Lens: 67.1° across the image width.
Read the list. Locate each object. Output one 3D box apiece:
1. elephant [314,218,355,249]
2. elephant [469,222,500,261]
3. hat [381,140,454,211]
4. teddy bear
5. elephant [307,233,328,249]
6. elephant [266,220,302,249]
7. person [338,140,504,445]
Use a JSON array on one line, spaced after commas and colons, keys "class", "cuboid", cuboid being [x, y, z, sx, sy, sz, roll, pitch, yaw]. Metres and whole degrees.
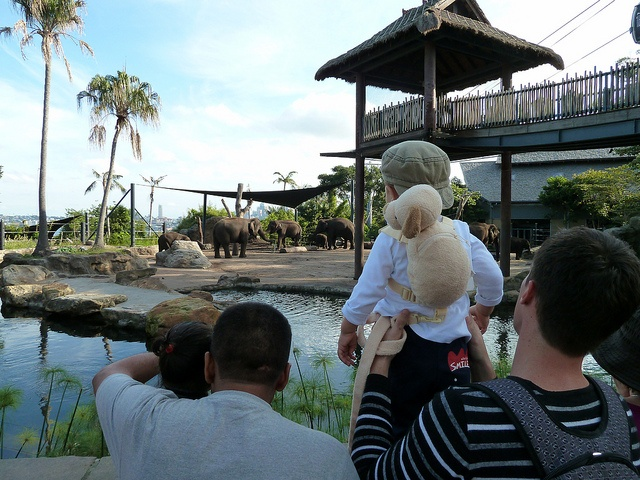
[{"class": "elephant", "cuboid": [0.694, -0.255, 24.462, 2.495, 1.579, 0.953, 1, -5, -1]}, {"class": "elephant", "cuboid": [5.963, -0.073, 17.673, 1.398, 0.929, 0.629, 9, 2, -15]}, {"class": "hat", "cuboid": [0.517, -0.367, 2.535, 0.370, 0.278, 0.497, -8, 26, -22]}, {"class": "teddy bear", "cuboid": [0.448, 0.021, 2.065, 0.372, 0.495, 0.307, 13, 24, 36]}, {"class": "elephant", "cuboid": [-0.098, 0.034, 24.770, 1.044, 0.671, 0.529, 7, 7, 19]}, {"class": "elephant", "cuboid": [-1.743, -0.296, 23.895, 0.910, 1.261, 1.916, 2, 3, 36]}, {"class": "person", "cuboid": [0.499, 0.485, 2.462, 0.755, 1.775, 0.548, 2, 7, 12]}]
